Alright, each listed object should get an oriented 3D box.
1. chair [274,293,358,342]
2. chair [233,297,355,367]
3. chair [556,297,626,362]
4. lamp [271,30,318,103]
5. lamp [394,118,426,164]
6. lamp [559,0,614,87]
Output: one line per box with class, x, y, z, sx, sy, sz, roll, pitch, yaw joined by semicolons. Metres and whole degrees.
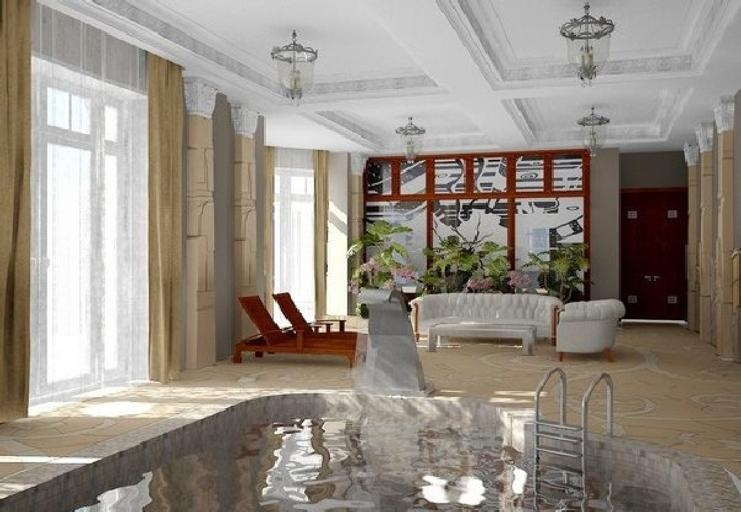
chair;-0.931;0.968;9.596;1.166;0.606;0.655;0;0;10
chair;-1.128;1.219;9.112;1.275;0.607;1.348;0;0;9
chair;3.393;1.126;9.442;1.114;0.908;1.133;-4;2;-1
lamp;-0.960;-2.407;7.491;0.538;0.983;0.625;-1;1;-12
lamp;0.793;-2.293;11.646;0.762;1.115;0.826;0;-1;-1
lamp;2.529;-2.520;6.958;0.535;0.938;0.697;-1;2;22
